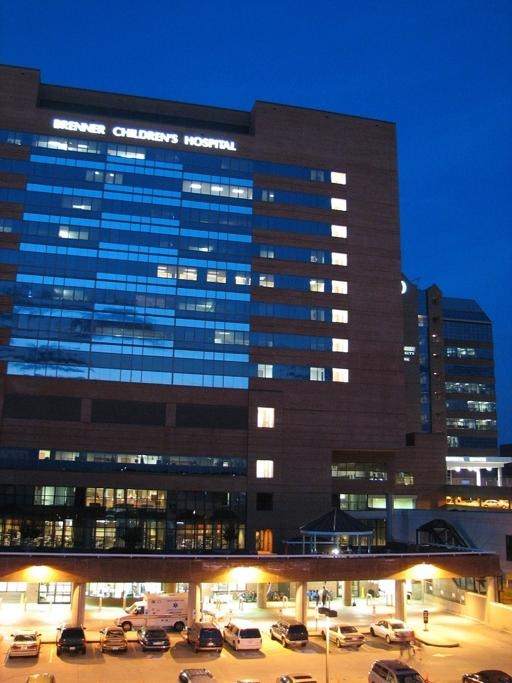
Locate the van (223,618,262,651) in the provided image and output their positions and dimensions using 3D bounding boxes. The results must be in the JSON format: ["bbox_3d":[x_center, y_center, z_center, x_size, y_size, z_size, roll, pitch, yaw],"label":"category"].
[{"bbox_3d":[-0.910,20.249,51.093,1.484,1.009,2.850,4,-8,-12],"label":"van"}]

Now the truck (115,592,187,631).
[{"bbox_3d":[-7.909,20.388,56.139,5.172,2.163,2.460,4,-13,-10],"label":"truck"}]

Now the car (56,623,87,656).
[{"bbox_3d":[-12.023,19.331,48.416,1.181,0.986,2.294,2,2,-13],"label":"car"}]

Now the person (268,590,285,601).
[{"bbox_3d":[2.011,25.226,73.798,1.707,0.392,1.073,3,4,-17],"label":"person"}]

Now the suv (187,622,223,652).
[{"bbox_3d":[-3.465,19.883,50.160,1.440,1.013,2.402,3,-6,-12],"label":"suv"}]

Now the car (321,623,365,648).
[{"bbox_3d":[6.267,21.022,52.706,1.637,0.824,2.430,2,4,-39],"label":"car"}]

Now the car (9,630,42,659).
[{"bbox_3d":[-14.733,19.429,47.132,1.887,1.240,1.777,4,4,-11],"label":"car"}]

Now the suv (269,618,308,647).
[{"bbox_3d":[2.468,20.613,52.673,1.459,1.007,2.779,5,-11,-16],"label":"suv"}]

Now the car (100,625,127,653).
[{"bbox_3d":[-9.481,19.699,49.312,1.116,0.811,2.032,3,1,-12],"label":"car"}]

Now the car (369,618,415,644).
[{"bbox_3d":[10.160,21.463,54.688,1.685,1.782,3.342,4,4,-19],"label":"car"}]
